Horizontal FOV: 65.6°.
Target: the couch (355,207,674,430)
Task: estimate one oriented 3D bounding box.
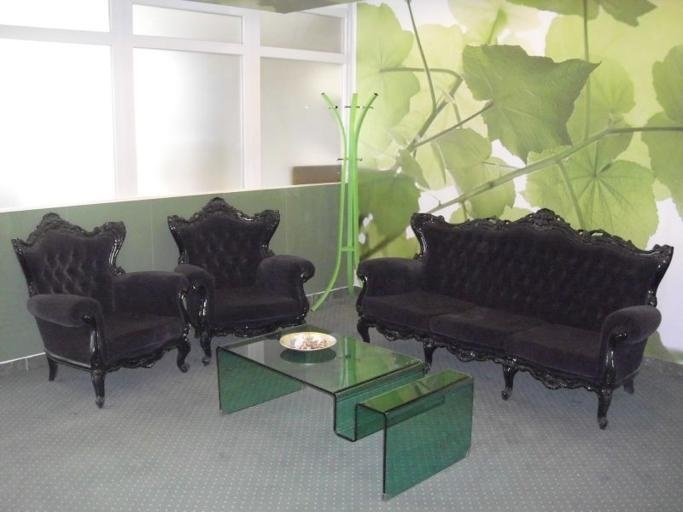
[{"bbox_3d":[1.397,0.392,4.742,1.065,1.284,2.845,-10,13,-35],"label":"couch"}]

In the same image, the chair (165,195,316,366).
[{"bbox_3d":[-1.011,0.217,5.111,1.214,1.252,0.966,-7,14,-39],"label":"chair"}]

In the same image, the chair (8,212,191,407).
[{"bbox_3d":[-1.910,0.373,4.387,1.230,1.162,1.173,-8,15,-44],"label":"chair"}]
